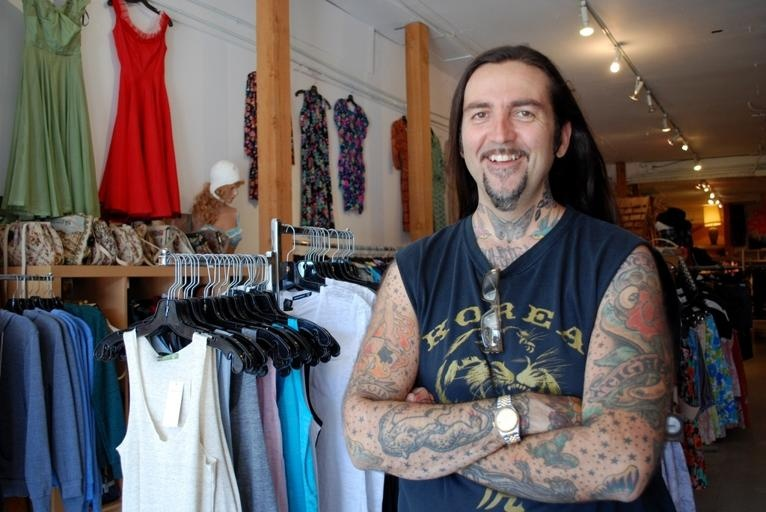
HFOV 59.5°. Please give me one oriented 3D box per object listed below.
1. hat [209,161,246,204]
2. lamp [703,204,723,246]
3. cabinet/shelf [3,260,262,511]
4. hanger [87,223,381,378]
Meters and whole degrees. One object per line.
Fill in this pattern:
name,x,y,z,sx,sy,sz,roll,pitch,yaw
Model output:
hat,-1.312,-0.613,5.545,0.281,0.322,0.236,20,22,37
lamp,8.604,-0.822,17.511,0.426,1.060,0.828,-1,-1,27
cabinet/shelf,-1.354,0.736,3.570,1.276,1.337,0.407,4,-8,-44
hanger,-0.596,0.221,3.712,0.801,0.563,1.270,3,5,27
